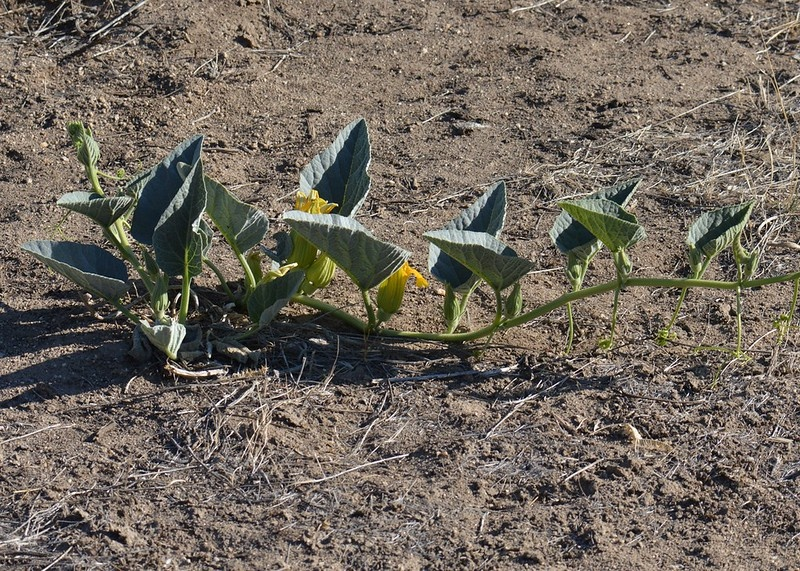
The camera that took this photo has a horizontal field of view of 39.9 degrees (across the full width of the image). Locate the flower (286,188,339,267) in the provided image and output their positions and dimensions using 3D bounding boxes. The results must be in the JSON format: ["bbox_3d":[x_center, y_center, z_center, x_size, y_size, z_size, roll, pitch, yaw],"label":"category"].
[{"bbox_3d":[-0.471,-0.275,5.577,0.255,0.367,0.222,15,3,-13],"label":"flower"}]
